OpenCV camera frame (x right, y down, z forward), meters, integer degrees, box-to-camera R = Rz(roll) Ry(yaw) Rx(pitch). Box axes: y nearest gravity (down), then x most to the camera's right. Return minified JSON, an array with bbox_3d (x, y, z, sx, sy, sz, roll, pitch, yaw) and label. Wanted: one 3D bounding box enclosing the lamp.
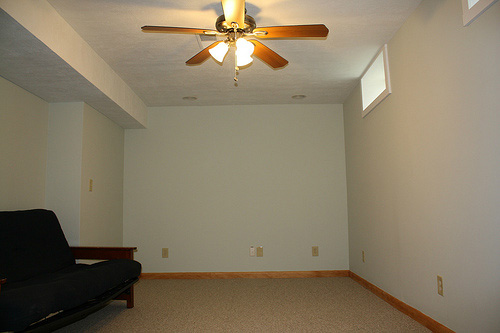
[{"bbox_3d":[-0.160,-1.109,3.227,0.400,0.120,0.402,6,-19,-12],"label":"lamp"}]
